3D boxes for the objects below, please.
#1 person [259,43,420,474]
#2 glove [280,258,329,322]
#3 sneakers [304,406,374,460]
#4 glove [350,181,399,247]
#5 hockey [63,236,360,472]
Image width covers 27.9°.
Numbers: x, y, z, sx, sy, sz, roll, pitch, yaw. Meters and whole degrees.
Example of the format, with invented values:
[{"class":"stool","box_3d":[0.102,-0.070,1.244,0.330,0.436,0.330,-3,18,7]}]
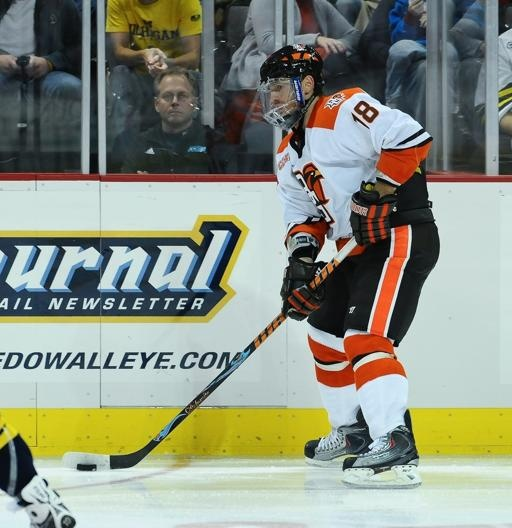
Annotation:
[{"class":"person","box_3d":[0.351,-0.012,3.673,0.376,1.532,0.680,-3,5,-42]},{"class":"glove","box_3d":[0.168,0.085,3.730,0.200,0.202,0.112,6,-1,-13]},{"class":"sneakers","box_3d":[0.336,0.674,3.911,0.321,0.171,0.095,-6,-9,21]},{"class":"glove","box_3d":[0.411,-0.171,3.581,0.179,0.191,0.171,8,19,18]},{"class":"hockey","box_3d":[-0.215,0.353,4.072,1.576,0.214,0.114,-31,-21,13]}]
